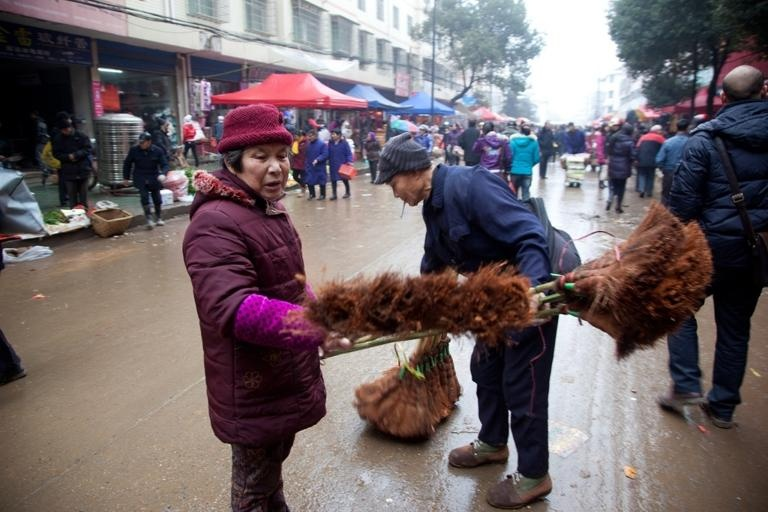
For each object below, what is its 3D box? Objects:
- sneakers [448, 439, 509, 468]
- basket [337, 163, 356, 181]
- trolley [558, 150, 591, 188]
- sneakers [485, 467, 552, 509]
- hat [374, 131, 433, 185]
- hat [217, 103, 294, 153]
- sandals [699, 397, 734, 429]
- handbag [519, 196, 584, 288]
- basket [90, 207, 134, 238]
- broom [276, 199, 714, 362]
[{"bbox_3d":[0.631,1.351,3.612,0.474,0.160,0.161,0,10,-2],"label":"sneakers"},{"bbox_3d":[-0.913,-2.184,13.438,0.494,0.395,0.440,-1,10,16],"label":"basket"},{"bbox_3d":[5.510,-2.572,15.458,0.862,0.815,0.617,-1,-2,-10],"label":"trolley"},{"bbox_3d":[0.831,1.455,3.307,0.431,0.149,0.187,-7,24,2],"label":"sneakers"},{"bbox_3d":[0.102,-0.606,3.279,0.411,0.205,0.261,-19,18,8],"label":"hat"},{"bbox_3d":[-0.651,-0.637,2.650,0.333,0.145,0.298,-7,7,-18],"label":"hat"},{"bbox_3d":[2.484,1.175,3.918,0.139,0.123,0.280,-1,13,-5],"label":"sandals"},{"bbox_3d":[0.950,-0.078,3.262,0.404,0.487,0.195,-23,-11,-42],"label":"handbag"},{"bbox_3d":[-4.758,-0.633,9.224,0.534,0.387,0.644,20,22,26],"label":"basket"},{"bbox_3d":[0.476,0.149,2.804,2.443,0.709,0.793,-7,-6,3],"label":"broom"}]
